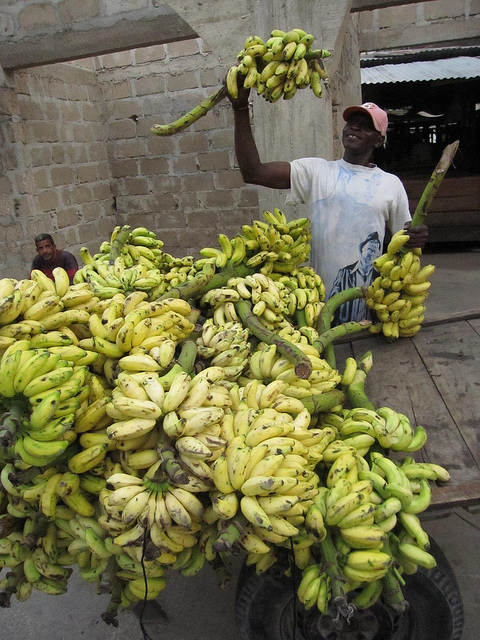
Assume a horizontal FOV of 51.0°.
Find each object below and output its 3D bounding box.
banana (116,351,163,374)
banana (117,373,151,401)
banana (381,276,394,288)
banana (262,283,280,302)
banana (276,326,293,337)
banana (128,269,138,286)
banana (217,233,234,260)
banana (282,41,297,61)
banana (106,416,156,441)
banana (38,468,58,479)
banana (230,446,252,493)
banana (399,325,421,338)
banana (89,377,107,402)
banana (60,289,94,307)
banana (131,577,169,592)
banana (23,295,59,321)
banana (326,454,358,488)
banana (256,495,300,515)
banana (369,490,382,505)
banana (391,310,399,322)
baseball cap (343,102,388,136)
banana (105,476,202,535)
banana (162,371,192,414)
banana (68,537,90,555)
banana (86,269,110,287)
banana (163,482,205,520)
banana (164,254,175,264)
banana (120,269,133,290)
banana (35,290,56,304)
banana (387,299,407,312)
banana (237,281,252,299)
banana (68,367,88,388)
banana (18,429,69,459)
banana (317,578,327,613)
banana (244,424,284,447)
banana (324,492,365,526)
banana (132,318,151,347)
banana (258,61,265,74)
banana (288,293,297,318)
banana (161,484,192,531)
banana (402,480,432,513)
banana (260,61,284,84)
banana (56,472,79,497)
[{"bbox_3d":[-0.259,0.110,1.295,0.095,0.051,0.030,24,-18,-27],"label":"banana"},{"bbox_3d":[-0.263,0.150,1.251,0.036,0.040,0.114,-27,43,-21],"label":"banana"},{"bbox_3d":[0.609,-0.154,2.082,0.037,0.044,0.017,10,35,-8],"label":"banana"},{"bbox_3d":[0.120,-0.104,1.829,0.039,0.030,0.107,-42,41,13],"label":"banana"},{"bbox_3d":[0.162,0.037,1.784,0.023,0.029,0.086,-9,12,30],"label":"banana"},{"bbox_3d":[-0.369,-0.146,1.746,0.018,0.012,0.068,-36,24,35],"label":"banana"},{"bbox_3d":[-0.050,-0.282,2.007,0.038,0.132,0.042,3,51,41],"label":"banana"},{"bbox_3d":[0.170,-0.936,1.756,0.035,0.068,0.024,31,-18,-17],"label":"banana"},{"bbox_3d":[-0.249,0.246,1.139,0.093,0.047,0.032,-13,-6,-22],"label":"banana"},{"bbox_3d":[-0.481,0.382,1.261,0.043,0.022,0.014,-30,70,-29],"label":"banana"},{"bbox_3d":[-0.001,0.329,1.118,0.030,0.102,0.035,12,-3,12],"label":"banana"},{"bbox_3d":[0.731,0.050,2.157,0.070,0.051,0.025,-33,23,-15],"label":"banana"},{"bbox_3d":[-0.380,0.180,1.319,0.032,0.018,0.055,-13,47,-4],"label":"banana"},{"bbox_3d":[-0.491,-0.068,1.511,0.041,0.029,0.089,7,20,31],"label":"banana"},{"bbox_3d":[-0.232,0.682,1.316,0.104,0.046,0.030,-2,0,-7],"label":"banana"},{"bbox_3d":[-0.553,-0.032,1.401,0.102,0.052,0.045,-24,34,-36],"label":"banana"},{"bbox_3d":[0.260,0.379,1.286,0.049,0.032,0.096,-15,23,34],"label":"banana"},{"bbox_3d":[0.081,0.403,1.133,0.125,0.032,0.044,-13,8,44],"label":"banana"},{"bbox_3d":[0.341,0.443,1.262,0.025,0.015,0.028,-3,28,-19],"label":"banana"},{"bbox_3d":[0.648,-0.014,2.109,0.019,0.038,0.030,20,11,-13],"label":"banana"},{"bbox_3d":[0.731,-1.112,2.817,0.341,0.173,0.214,-22,33,-34],"label":"baseball cap"},{"bbox_3d":[-0.199,0.427,1.172,0.187,0.118,0.053,24,-11,11],"label":"banana"},{"bbox_3d":[-0.161,0.176,1.216,0.046,0.041,0.137,35,29,-5],"label":"banana"},{"bbox_3d":[-0.410,0.570,1.268,0.040,0.058,0.021,15,51,-4],"label":"banana"},{"bbox_3d":[-0.486,-0.143,1.723,0.089,0.024,0.030,44,23,18],"label":"banana"},{"bbox_3d":[-0.118,0.398,1.158,0.118,0.047,0.036,39,82,28],"label":"banana"},{"bbox_3d":[-0.285,-0.251,2.063,0.033,0.036,0.012,0,5,2],"label":"banana"},{"bbox_3d":[-0.394,-0.139,1.734,0.027,0.030,0.089,9,23,-16],"label":"banana"},{"bbox_3d":[-0.551,-0.064,1.418,0.034,0.037,0.117,5,3,-12],"label":"banana"},{"bbox_3d":[0.658,-0.060,2.099,0.036,0.074,0.028,46,31,-7],"label":"banana"},{"bbox_3d":[0.010,-0.109,1.798,0.027,0.028,0.080,-32,39,-1],"label":"banana"},{"bbox_3d":[-0.405,0.141,1.246,0.039,0.046,0.136,5,7,-11],"label":"banana"},{"bbox_3d":[-0.458,0.287,1.138,0.118,0.046,0.065,3,27,11],"label":"banana"},{"bbox_3d":[0.194,0.646,1.187,0.026,0.072,0.020,21,-30,-34],"label":"banana"},{"bbox_3d":[0.059,0.270,1.215,0.104,0.044,0.035,-11,11,-31],"label":"banana"},{"bbox_3d":[0.246,0.438,1.169,0.100,0.072,0.037,-16,30,-25],"label":"banana"},{"bbox_3d":[-0.269,0.033,1.374,0.027,0.064,0.086,7,28,19],"label":"banana"},{"bbox_3d":[0.078,-0.949,1.893,0.016,0.054,0.008,21,68,16],"label":"banana"},{"bbox_3d":[0.200,-0.055,1.915,0.027,0.093,0.032,0,-4,-30],"label":"banana"},{"bbox_3d":[-0.143,0.410,1.134,0.042,0.031,0.111,-9,50,-44],"label":"banana"},{"bbox_3d":[0.445,0.456,1.284,0.062,0.026,0.105,-8,19,31],"label":"banana"},{"bbox_3d":[0.109,-0.904,1.823,0.033,0.118,0.040,34,6,35],"label":"banana"},{"bbox_3d":[-0.417,0.398,1.211,0.037,0.024,0.069,4,-10,-2],"label":"banana"}]
